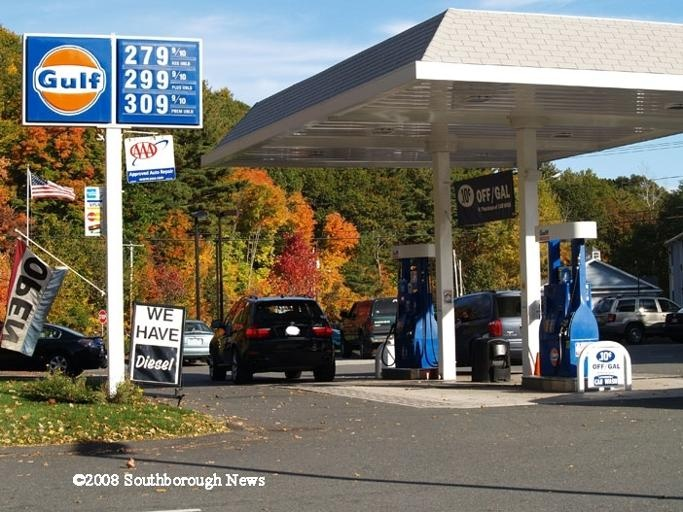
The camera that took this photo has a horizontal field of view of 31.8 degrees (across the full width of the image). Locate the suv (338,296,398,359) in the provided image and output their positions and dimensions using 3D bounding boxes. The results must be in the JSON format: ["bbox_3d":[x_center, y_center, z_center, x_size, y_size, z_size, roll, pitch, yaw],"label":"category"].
[{"bbox_3d":[0.942,2.262,38.339,1.557,2.250,1.577,2,0,-28],"label":"suv"}]

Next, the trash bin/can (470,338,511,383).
[{"bbox_3d":[3.412,2.402,27.582,0.867,1.024,0.523,0,-6,4],"label":"trash bin/can"}]

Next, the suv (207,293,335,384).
[{"bbox_3d":[-1.775,2.080,29.635,2.484,2.204,5.061,-2,-3,-20],"label":"suv"}]

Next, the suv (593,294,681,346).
[{"bbox_3d":[10.758,2.403,44.289,2.693,1.836,2.736,-2,1,-9],"label":"suv"}]
